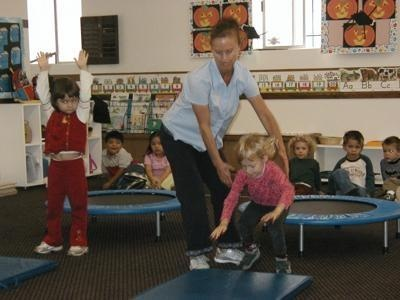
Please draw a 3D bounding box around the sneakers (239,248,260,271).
[{"bbox_3d":[0.339,0.725,2.715,0.065,0.089,0.199,-2,42,47],"label":"sneakers"}]

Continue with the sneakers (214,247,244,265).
[{"bbox_3d":[0.198,0.718,2.652,0.168,0.082,0.108,4,29,11],"label":"sneakers"}]

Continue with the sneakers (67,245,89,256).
[{"bbox_3d":[-0.906,0.744,2.906,0.061,0.047,0.112,0,-5,22],"label":"sneakers"}]

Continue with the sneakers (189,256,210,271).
[{"bbox_3d":[-0.005,0.707,2.456,0.076,0.073,0.152,-1,-10,-3],"label":"sneakers"}]

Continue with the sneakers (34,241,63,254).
[{"bbox_3d":[-1.154,0.746,3.008,0.170,0.094,0.073,4,-2,-23],"label":"sneakers"}]

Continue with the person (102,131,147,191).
[{"bbox_3d":[-1.006,0.121,5.142,0.528,0.734,0.766,-2,6,-15],"label":"person"}]

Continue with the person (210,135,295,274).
[{"bbox_3d":[0.340,0.356,2.485,0.487,0.921,0.598,1,6,10],"label":"person"}]
